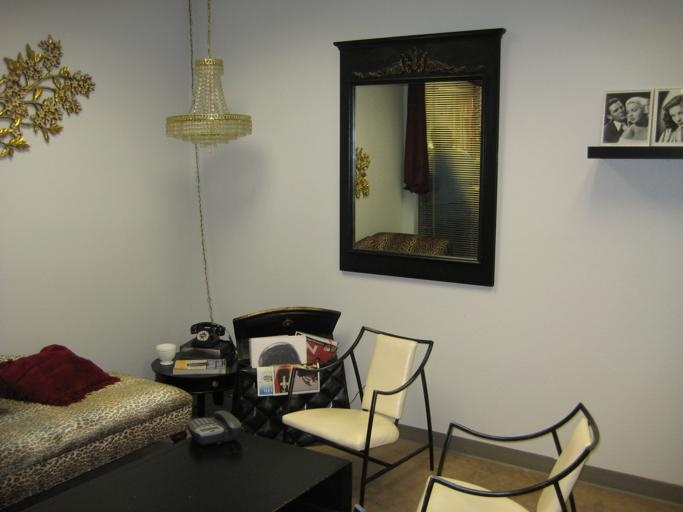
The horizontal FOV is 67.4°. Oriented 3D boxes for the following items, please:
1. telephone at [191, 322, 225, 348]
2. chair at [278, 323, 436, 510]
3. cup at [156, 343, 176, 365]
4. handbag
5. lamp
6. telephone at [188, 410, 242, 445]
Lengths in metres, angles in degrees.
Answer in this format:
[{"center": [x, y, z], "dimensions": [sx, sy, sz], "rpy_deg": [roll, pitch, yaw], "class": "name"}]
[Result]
[{"center": [-1.059, 0.620, 4.030], "dimensions": [0.222, 0.146, 0.213], "rpy_deg": [0, -3, 6], "class": "telephone"}, {"center": [0.258, 0.953, 3.482], "dimensions": [0.957, 1.179, 1.041], "rpy_deg": [3, 4, 41], "class": "chair"}, {"center": [-1.387, 0.767, 4.076], "dimensions": [0.140, 0.128, 0.150], "rpy_deg": [2, 7, 0], "class": "cup"}, {"center": [-0.369, 0.864, 3.601], "dimensions": [0.912, 1.126, 0.616], "rpy_deg": [-2, 4, -20], "class": "handbag"}, {"center": [-0.965, -1.313, 3.566], "dimensions": [0.512, 1.062, 1.045], "rpy_deg": [-3, 12, -18], "class": "lamp"}, {"center": [-0.736, 0.978, 2.946], "dimensions": [0.269, 0.149, 0.283], "rpy_deg": [5, -3, -34], "class": "telephone"}]
